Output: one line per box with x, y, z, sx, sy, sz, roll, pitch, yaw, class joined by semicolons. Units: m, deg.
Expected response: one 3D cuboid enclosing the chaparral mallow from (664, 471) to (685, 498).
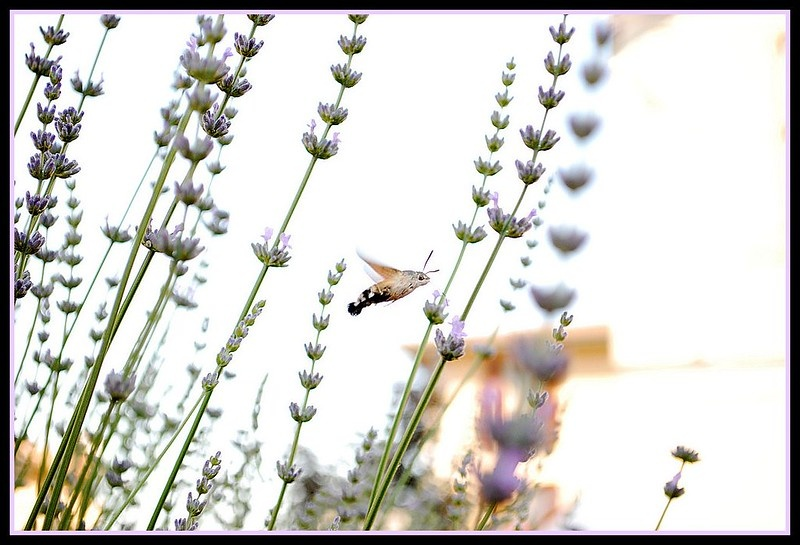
0.691;0.536;2.420;0.053;0.067;0.051;16;-35;-9;chaparral mallow

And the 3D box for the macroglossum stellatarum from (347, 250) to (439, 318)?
-0.020;0.022;2.591;0.244;0.178;0.179;-2;-11;4;macroglossum stellatarum
